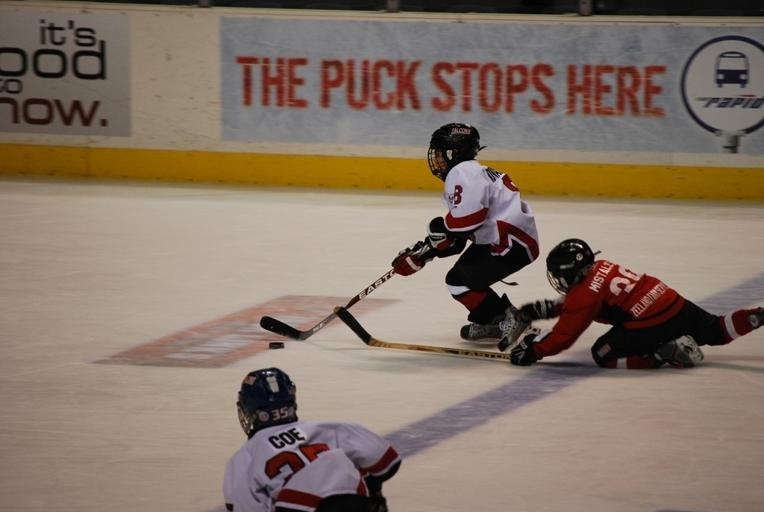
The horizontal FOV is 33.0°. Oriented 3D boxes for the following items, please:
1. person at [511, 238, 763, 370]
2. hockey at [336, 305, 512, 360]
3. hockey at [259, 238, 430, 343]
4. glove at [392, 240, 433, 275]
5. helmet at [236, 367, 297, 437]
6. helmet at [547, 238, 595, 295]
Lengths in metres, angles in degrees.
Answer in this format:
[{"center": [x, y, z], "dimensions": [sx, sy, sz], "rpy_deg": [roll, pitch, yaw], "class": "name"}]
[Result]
[{"center": [1.669, 0.345, 8.600], "dimensions": [1.543, 0.827, 0.241], "rpy_deg": [3, -1, -1], "class": "person"}, {"center": [0.283, 0.540, 8.929], "dimensions": [1.238, 0.348, 0.260], "rpy_deg": [3, -1, 8], "class": "hockey"}, {"center": [-0.284, 0.292, 9.687], "dimensions": [1.717, 0.395, 0.265], "rpy_deg": [-19, -21, 16], "class": "hockey"}, {"center": [0.205, 0.026, 9.046], "dimensions": [0.329, 0.187, 0.129], "rpy_deg": [-27, -40, 14], "class": "glove"}, {"center": [-0.658, 0.820, 7.255], "dimensions": [0.420, 0.318, 0.419], "rpy_deg": [-7, -6, -17], "class": "helmet"}, {"center": [1.252, 0.072, 8.587], "dimensions": [0.303, 0.359, 0.155], "rpy_deg": [4, -1, 10], "class": "helmet"}]
